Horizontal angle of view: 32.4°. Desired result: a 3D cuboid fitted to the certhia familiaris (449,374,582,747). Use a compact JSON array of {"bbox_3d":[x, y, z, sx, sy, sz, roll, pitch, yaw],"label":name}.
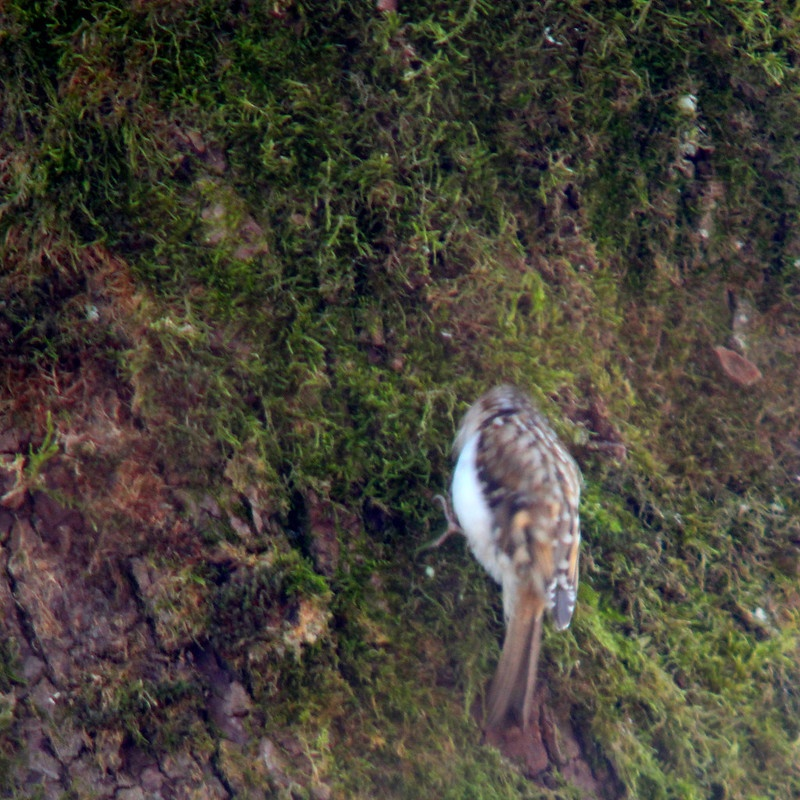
[{"bbox_3d":[0.552,0.600,6.458,0.497,1.773,0.493,-20,-31,40],"label":"certhia familiaris"}]
